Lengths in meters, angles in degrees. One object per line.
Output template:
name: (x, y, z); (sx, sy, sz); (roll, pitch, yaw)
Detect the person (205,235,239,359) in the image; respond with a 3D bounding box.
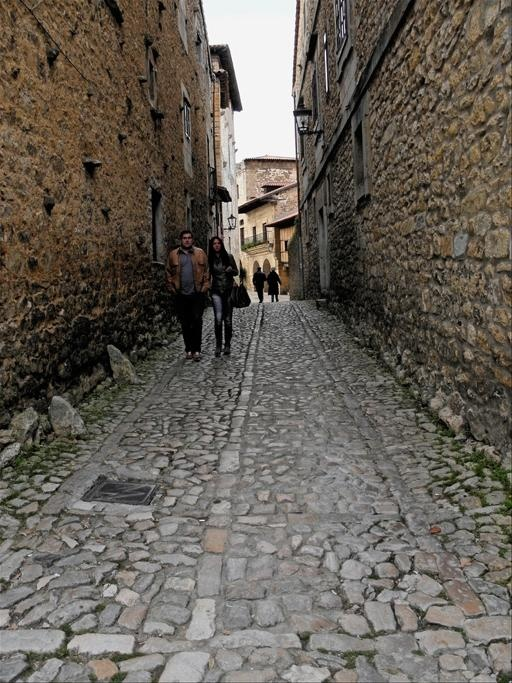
person: (-0.597, -0.866, 7.208); (0.475, 2.238, 1.558); (0, -1, -5)

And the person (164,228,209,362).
person: (-1.114, -0.769, 6.594); (0.666, 2.113, 0.548); (0, -1, -15)
